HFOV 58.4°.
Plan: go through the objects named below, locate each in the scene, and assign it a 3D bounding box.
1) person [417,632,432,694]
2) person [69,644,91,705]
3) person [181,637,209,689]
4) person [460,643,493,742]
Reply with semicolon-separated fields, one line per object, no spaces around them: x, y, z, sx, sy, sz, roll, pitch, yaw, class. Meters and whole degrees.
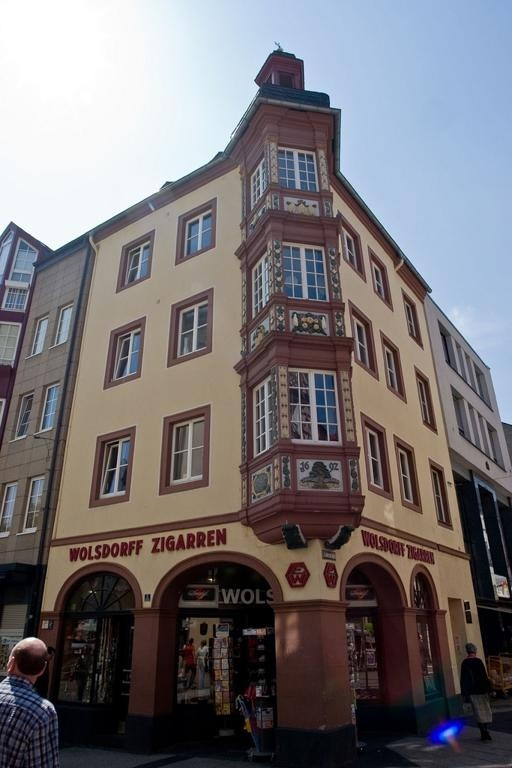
5.153;8.116;13.713;0.261;1.738;1.131;-13;-30;22;person
-5.030;8.211;13.203;0.281;1.517;0.291;4;-22;-12;person
-1.655;7.507;12.514;0.767;1.162;0.367;6;-28;-14;person
5.145;7.013;10.618;0.635;1.906;1.448;-11;-30;19;person
